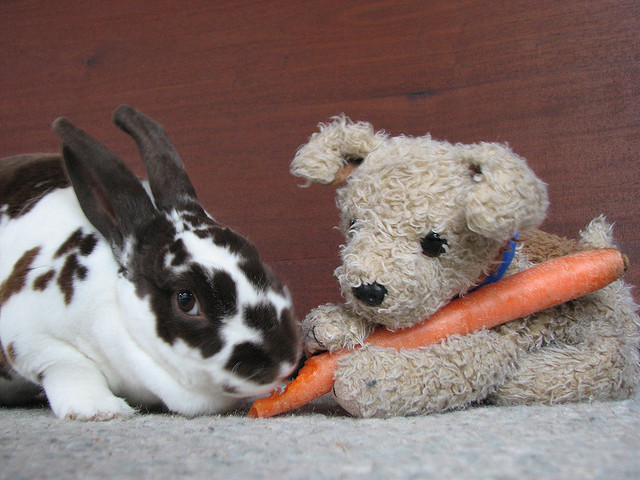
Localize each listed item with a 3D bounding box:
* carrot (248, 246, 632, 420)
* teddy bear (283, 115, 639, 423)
[{"bbox_3d":[0.348,0.271,2.056,1.021,0.110,0.109,-22,-7,-7],"label":"carrot"},{"bbox_3d":[0.425,0.081,2.227,0.994,0.661,0.710,2,-3,-35],"label":"teddy bear"}]
